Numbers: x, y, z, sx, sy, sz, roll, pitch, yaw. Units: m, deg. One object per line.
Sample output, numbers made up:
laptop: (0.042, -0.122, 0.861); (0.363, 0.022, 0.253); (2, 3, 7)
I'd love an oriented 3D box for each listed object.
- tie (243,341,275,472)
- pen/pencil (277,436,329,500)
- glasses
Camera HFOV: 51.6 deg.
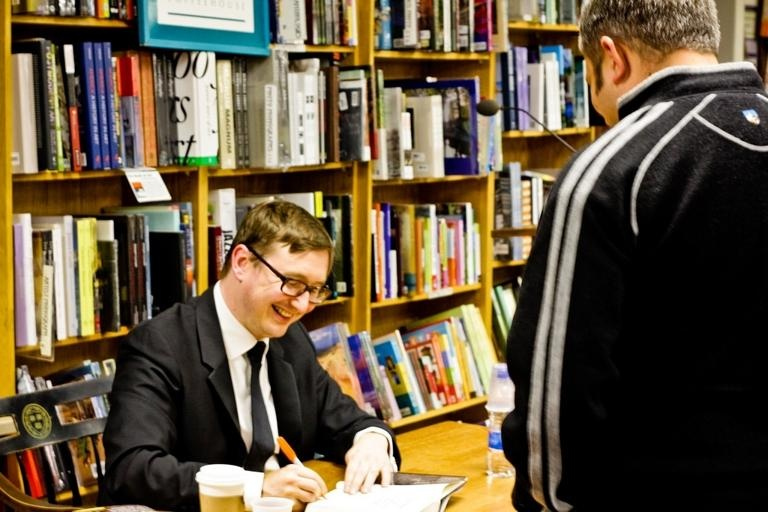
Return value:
tie: (-0.382, 0.445, 2.401); (0.077, 0.289, 0.205); (4, -5, -27)
pen/pencil: (-0.242, 0.622, 2.310); (0.028, 0.209, 0.030); (-39, -26, -5)
glasses: (-0.294, 0.070, 2.416); (0.201, 0.054, 0.194); (45, 8, 16)
